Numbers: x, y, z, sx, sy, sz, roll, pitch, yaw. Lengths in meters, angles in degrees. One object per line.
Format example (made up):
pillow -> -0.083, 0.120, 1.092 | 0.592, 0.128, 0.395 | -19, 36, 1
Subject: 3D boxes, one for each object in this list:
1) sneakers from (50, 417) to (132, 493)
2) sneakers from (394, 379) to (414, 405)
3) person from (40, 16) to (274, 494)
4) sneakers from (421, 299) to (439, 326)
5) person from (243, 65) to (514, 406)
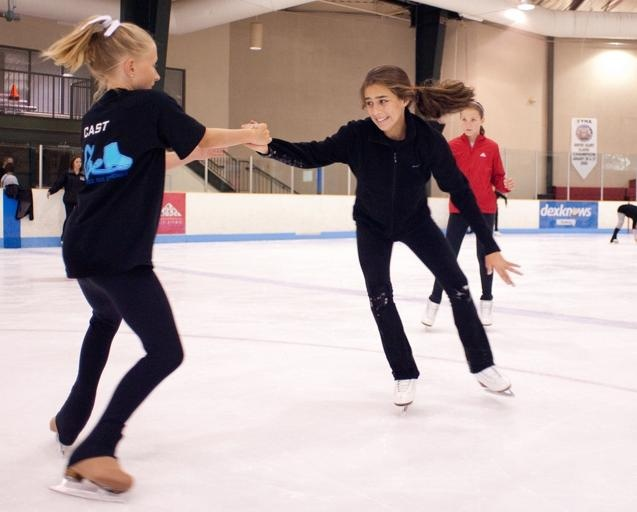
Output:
sneakers -> -0.672, 0.625, 1.725 | 0.177, 0.057, 0.129 | 8, 3, 0
sneakers -> 0.366, 0.570, 2.429 | 0.085, 0.115, 0.180 | 1, 5, 10
person -> -0.581, -0.054, 1.907 | 0.595, 1.491, 0.490 | -2, 6, -25
sneakers -> 0.779, 0.397, 4.060 | 0.078, 0.237, 0.101 | 17, -13, 5
person -> 0.331, -0.089, 2.448 | 0.970, 1.405, 0.344 | -1, 6, -14
